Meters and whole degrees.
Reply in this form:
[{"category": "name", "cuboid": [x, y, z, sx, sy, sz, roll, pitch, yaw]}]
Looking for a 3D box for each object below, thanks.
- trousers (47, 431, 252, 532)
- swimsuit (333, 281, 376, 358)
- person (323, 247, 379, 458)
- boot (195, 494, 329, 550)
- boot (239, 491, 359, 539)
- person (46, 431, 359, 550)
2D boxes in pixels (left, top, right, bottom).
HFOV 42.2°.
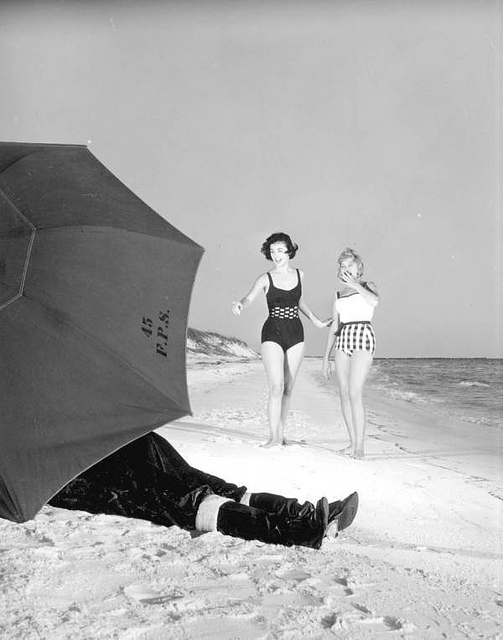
[{"category": "trousers", "cuboid": [-0.463, 0.723, 3.029, 0.802, 0.222, 0.458, 15, 6, 15]}, {"category": "swimsuit", "cuboid": [0.804, 0.035, 5.152, 0.362, 0.401, 0.209, 3, -2, 25]}, {"category": "person", "cuboid": [0.783, 0.223, 5.216, 0.401, 1.172, 0.736, 3, -2, 10]}, {"category": "boot", "cuboid": [0.049, 0.886, 2.804, 0.455, 0.195, 0.279, 5, -1, 21]}, {"category": "boot", "cuboid": [0.208, 0.855, 2.971, 0.418, 0.186, 0.250, 1, -2, 21]}, {"category": "person", "cuboid": [-0.242, 0.634, 3.016, 1.115, 0.339, 0.627, 6, -1, 21]}]
